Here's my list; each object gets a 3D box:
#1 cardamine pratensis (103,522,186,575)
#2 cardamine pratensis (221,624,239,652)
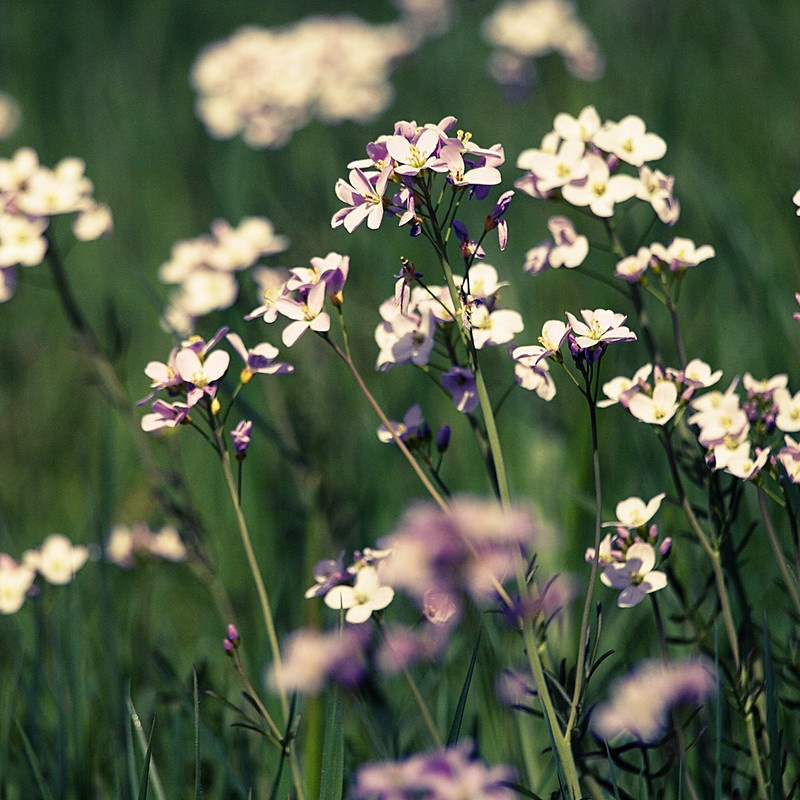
[{"bbox_3d":[-0.576,0.334,3.858,0.127,0.041,0.136,-3,66,-19],"label":"cardamine pratensis"},{"bbox_3d":[-0.343,0.475,3.377,0.023,0.073,0.027,-5,2,-1],"label":"cardamine pratensis"}]
